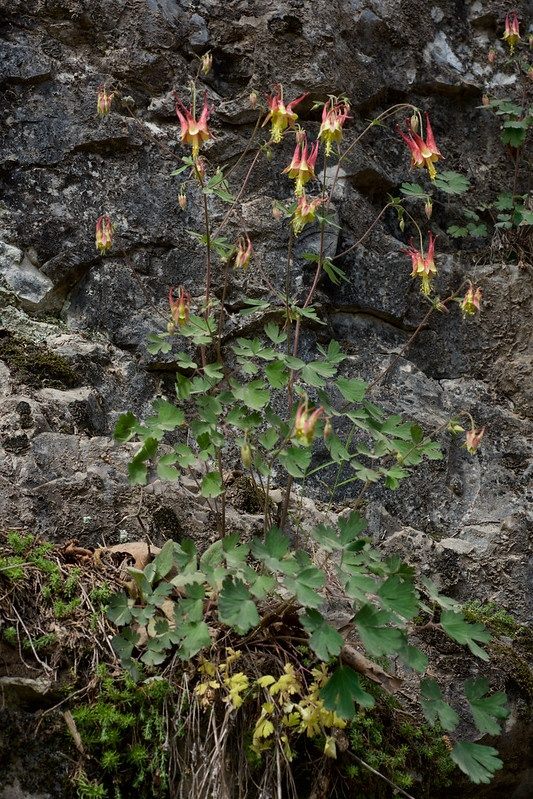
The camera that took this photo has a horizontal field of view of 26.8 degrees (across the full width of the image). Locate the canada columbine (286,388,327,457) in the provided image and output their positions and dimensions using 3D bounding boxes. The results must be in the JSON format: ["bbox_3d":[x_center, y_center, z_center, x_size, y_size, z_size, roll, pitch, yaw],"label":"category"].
[{"bbox_3d":[0.101,0.058,3.413,0.059,0.159,0.075,19,13,10],"label":"canada columbine"}]

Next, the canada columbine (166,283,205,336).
[{"bbox_3d":[-0.320,-0.344,4.334,0.135,0.104,0.272,-18,11,4],"label":"canada columbine"}]

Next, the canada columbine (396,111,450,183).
[{"bbox_3d":[0.585,-0.942,4.174,0.123,0.223,0.137,-29,11,5],"label":"canada columbine"}]

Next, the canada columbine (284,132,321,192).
[{"bbox_3d":[0.117,-0.818,3.876,0.078,0.199,0.107,0,6,-16],"label":"canada columbine"}]
